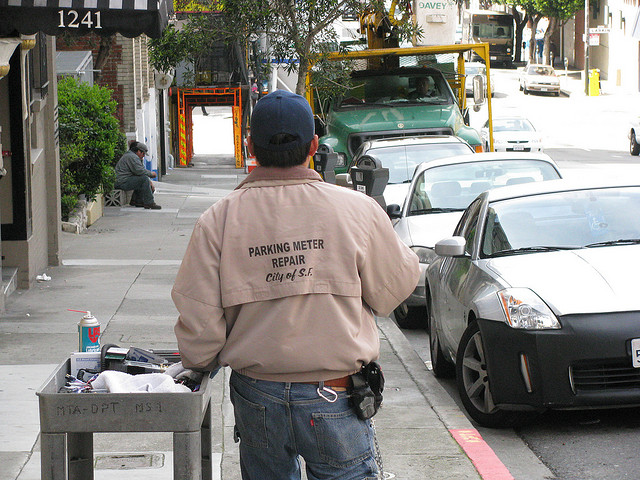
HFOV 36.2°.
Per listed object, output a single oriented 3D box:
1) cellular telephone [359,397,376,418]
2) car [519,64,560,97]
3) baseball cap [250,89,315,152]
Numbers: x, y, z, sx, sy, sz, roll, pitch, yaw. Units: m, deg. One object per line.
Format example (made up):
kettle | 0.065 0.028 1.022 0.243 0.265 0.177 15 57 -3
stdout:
cellular telephone | 0.254 0.897 5.237 0.087 0.102 0.031 -7 4 -23
car | 14.635 -10.777 66.022 2.577 2.105 3.447 0 12 14
baseball cap | -0.208 -0.650 5.359 0.341 0.310 0.114 -4 10 -5
